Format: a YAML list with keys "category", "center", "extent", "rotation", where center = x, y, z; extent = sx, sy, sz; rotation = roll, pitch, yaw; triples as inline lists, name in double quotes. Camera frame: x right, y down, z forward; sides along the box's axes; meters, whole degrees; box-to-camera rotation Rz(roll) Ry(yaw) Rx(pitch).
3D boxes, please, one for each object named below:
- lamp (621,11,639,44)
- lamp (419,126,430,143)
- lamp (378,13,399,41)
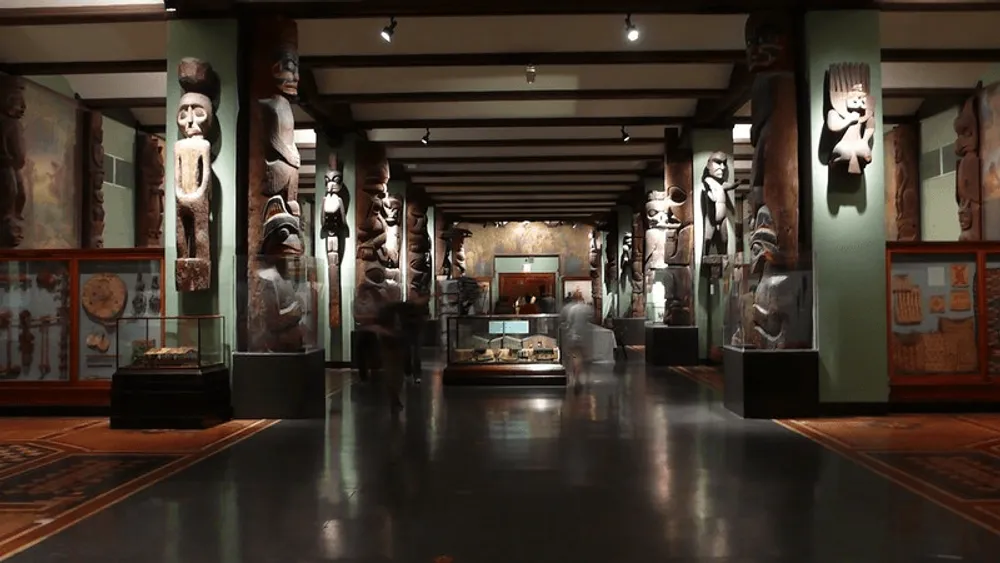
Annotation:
- category: "lamp"
  center: [2.478, -4.774, 13.971]
  extent: [0.301, 0.633, 1.177]
  rotation: [1, 7, 10]
- category: "lamp"
  center: [-1.843, -3.602, 18.140]
  extent: [0.156, 0.146, 0.394]
  rotation: [14, 40, 3]
- category: "lamp"
  center: [-2.070, -4.761, 13.960]
  extent: [0.255, 0.540, 0.993]
  rotation: [-1, 7, -7]
